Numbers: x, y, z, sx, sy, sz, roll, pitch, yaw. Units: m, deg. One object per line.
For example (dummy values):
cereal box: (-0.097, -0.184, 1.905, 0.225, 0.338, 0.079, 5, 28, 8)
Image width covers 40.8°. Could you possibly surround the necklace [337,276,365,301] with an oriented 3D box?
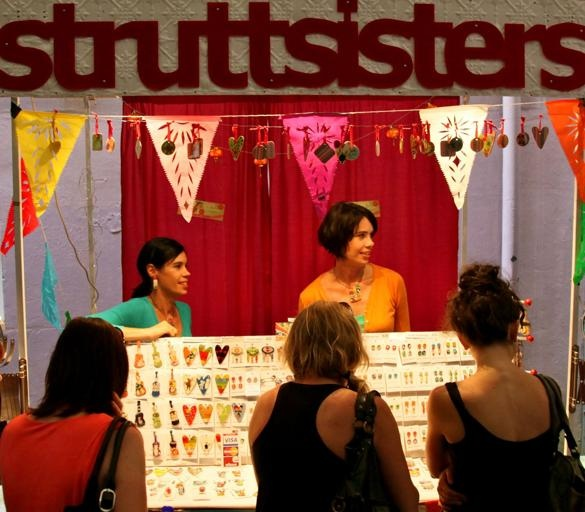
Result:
necklace: (0.329, 0.192, 4.379, 0.073, 0.145, 0.120, 6, -4, -38)
